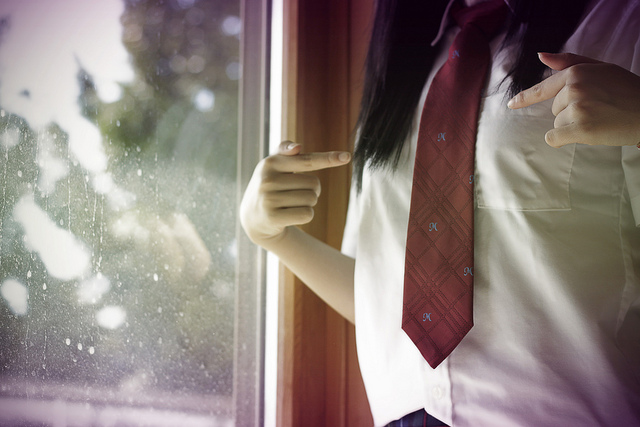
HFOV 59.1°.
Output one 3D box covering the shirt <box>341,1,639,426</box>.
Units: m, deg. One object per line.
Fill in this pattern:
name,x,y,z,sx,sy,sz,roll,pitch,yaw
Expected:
shirt,0.427,0.067,1.448,0.671,0.483,0.873,2,63,5
